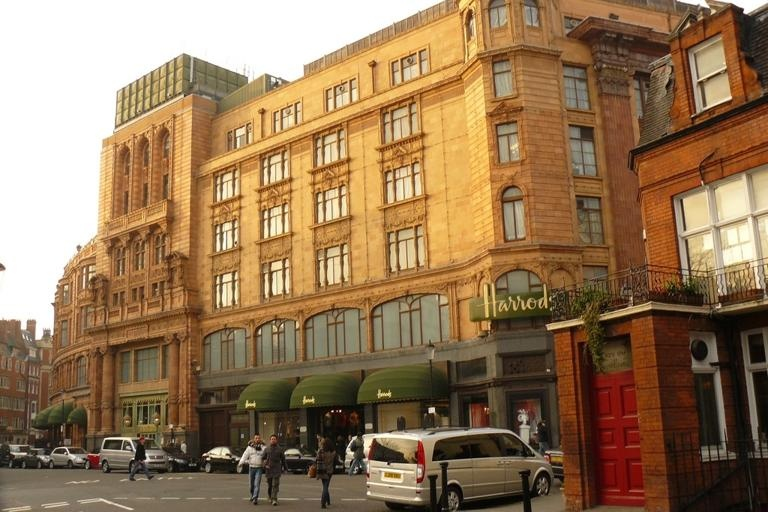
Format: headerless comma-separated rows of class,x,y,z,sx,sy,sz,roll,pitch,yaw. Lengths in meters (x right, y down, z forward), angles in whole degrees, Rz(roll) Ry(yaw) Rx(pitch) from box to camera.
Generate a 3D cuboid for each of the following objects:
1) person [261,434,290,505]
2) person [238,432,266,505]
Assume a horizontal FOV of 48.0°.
person,-4.365,8.754,35.416,0.862,2.804,1.237,2,-7,-15
person,-5.312,8.677,35.618,0.976,3.161,1.403,1,-7,-13
